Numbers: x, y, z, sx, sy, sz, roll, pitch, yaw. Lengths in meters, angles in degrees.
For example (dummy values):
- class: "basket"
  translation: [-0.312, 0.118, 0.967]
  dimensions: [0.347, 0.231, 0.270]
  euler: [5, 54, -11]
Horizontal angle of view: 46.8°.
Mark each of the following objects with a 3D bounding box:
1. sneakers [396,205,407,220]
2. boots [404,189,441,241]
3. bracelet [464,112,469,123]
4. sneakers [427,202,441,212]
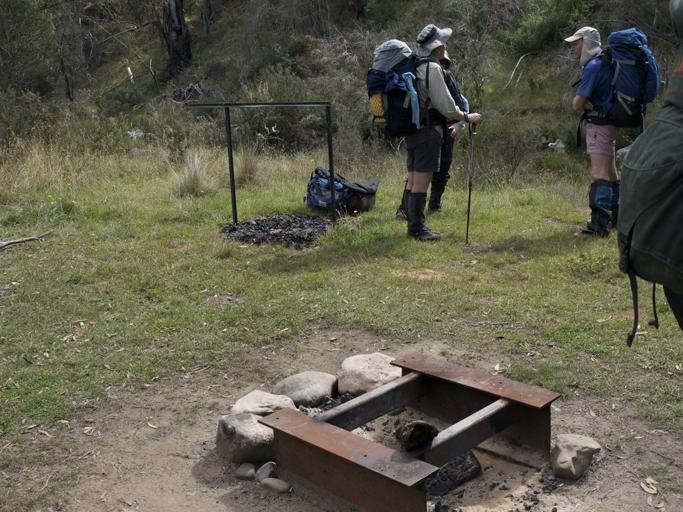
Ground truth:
- class: "sneakers"
  translation: [0.943, -0.686, 12.531]
  dimensions: [0.178, 0.111, 0.315]
  euler: [5, 17, 7]
- class: "boots"
  translation: [1.126, -0.624, 11.563]
  dimensions: [0.581, 0.916, 0.526]
  euler: [-3, 15, -2]
- class: "bracelet"
  translation: [1.815, -2.051, 11.560]
  dimensions: [0.091, 0.164, 0.143]
  euler: [-1, -8, 4]
- class: "sneakers"
  translation: [1.511, -0.822, 12.966]
  dimensions: [0.167, 0.183, 0.132]
  euler: [-5, 13, -15]
